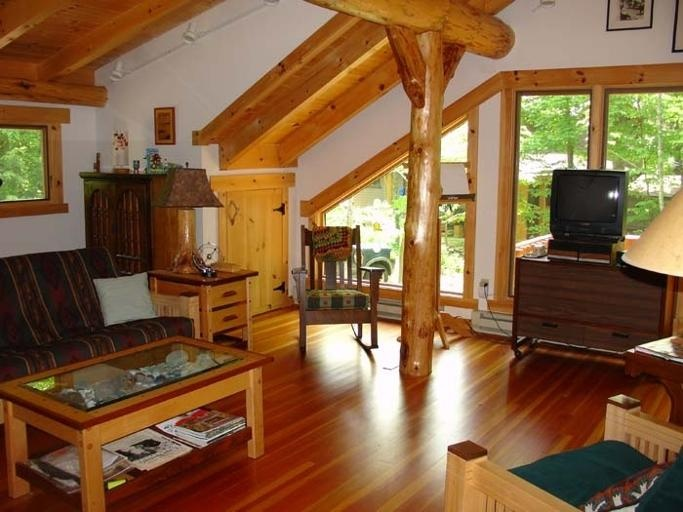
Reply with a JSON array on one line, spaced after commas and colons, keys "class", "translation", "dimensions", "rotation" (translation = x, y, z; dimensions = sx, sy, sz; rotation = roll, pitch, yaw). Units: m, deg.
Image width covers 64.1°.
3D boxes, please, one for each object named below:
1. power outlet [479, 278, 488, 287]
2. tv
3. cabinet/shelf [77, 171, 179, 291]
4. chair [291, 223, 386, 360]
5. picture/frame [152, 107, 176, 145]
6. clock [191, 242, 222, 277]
[{"class": "power outlet", "translation": [1.472, 0.289, 5.599], "dimensions": [0.078, 0.108, 0.085], "rotation": [2, -1, 33]}, {"class": "tv", "translation": [2.148, -0.437, 4.705], "dimensions": [0.600, 0.554, 0.328], "rotation": [3, 4, 30]}, {"class": "cabinet/shelf", "translation": [-2.042, -0.241, 5.310], "dimensions": [1.132, 1.259, 0.493], "rotation": [4, 7, 28]}, {"class": "chair", "translation": [-0.081, 0.304, 5.671], "dimensions": [1.049, 1.473, 1.191], "rotation": [0, 0, -2]}, {"class": "picture/frame", "translation": [-1.858, -1.362, 5.717], "dimensions": [0.400, 0.521, 0.043], "rotation": [4, 5, 26]}, {"class": "clock", "translation": [-1.314, 0.041, 5.232], "dimensions": [0.293, 0.360, 0.151], "rotation": [-3, 25, -16]}]
